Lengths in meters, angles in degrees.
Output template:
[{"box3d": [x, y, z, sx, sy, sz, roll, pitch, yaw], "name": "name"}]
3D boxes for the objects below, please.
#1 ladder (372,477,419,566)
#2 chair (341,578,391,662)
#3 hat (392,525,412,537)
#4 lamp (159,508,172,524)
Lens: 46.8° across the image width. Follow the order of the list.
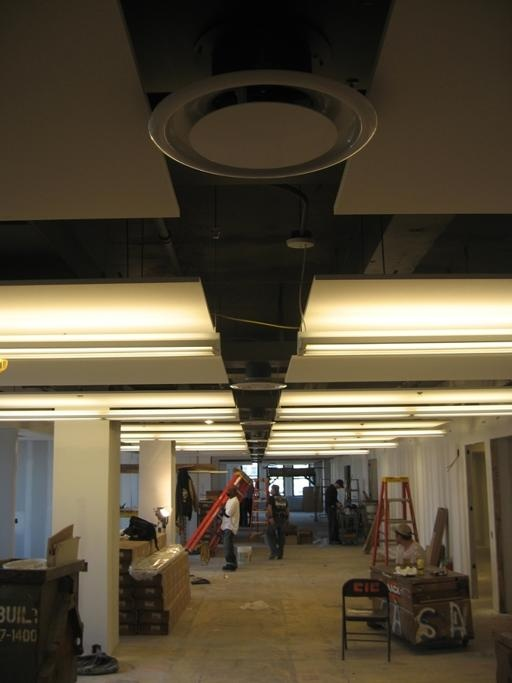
[{"box3d": [3.513, 4.302, 14.784, 0.677, 1.637, 0.675, -10, -7, 12], "name": "ladder"}, {"box3d": [1.411, 3.473, 7.566, 0.612, 0.955, 0.715, -3, -14, 15], "name": "chair"}, {"box3d": [2.253, 2.886, 9.007, 0.214, 0.170, 0.349, -4, -14, 17], "name": "hat"}, {"box3d": [-1.777, 3.437, 11.613, 0.109, 0.286, 0.231, -4, -3, 34], "name": "lamp"}]
